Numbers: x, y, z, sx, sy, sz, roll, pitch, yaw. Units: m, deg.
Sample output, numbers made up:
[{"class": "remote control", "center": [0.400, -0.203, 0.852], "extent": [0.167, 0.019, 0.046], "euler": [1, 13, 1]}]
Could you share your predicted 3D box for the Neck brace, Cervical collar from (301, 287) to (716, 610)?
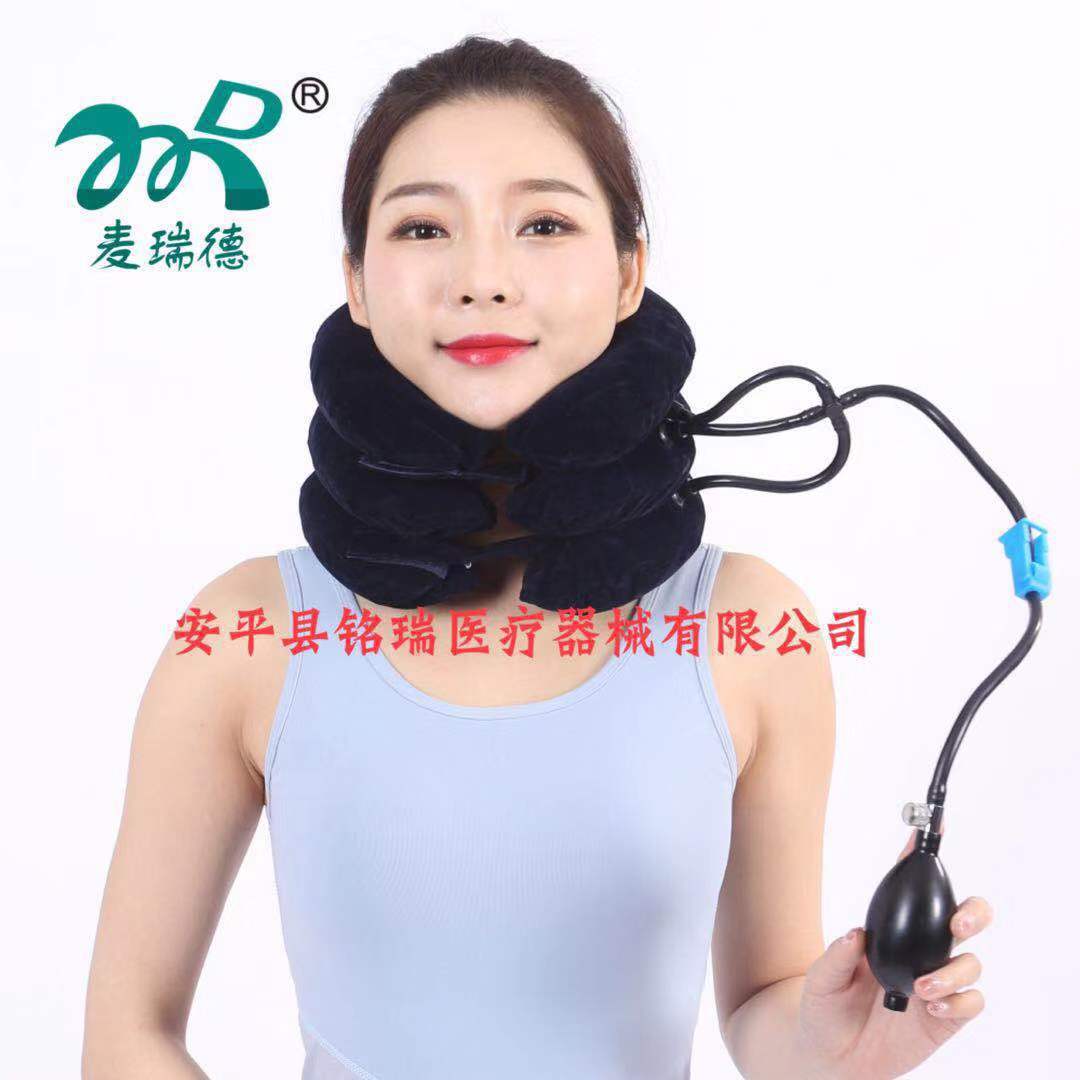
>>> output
[{"class": "Neck brace, Cervical collar", "center": [-0.042, -0.065, 1.444], "extent": [0.442, 0.244, 0.371], "euler": [-4, 5, 13]}]
